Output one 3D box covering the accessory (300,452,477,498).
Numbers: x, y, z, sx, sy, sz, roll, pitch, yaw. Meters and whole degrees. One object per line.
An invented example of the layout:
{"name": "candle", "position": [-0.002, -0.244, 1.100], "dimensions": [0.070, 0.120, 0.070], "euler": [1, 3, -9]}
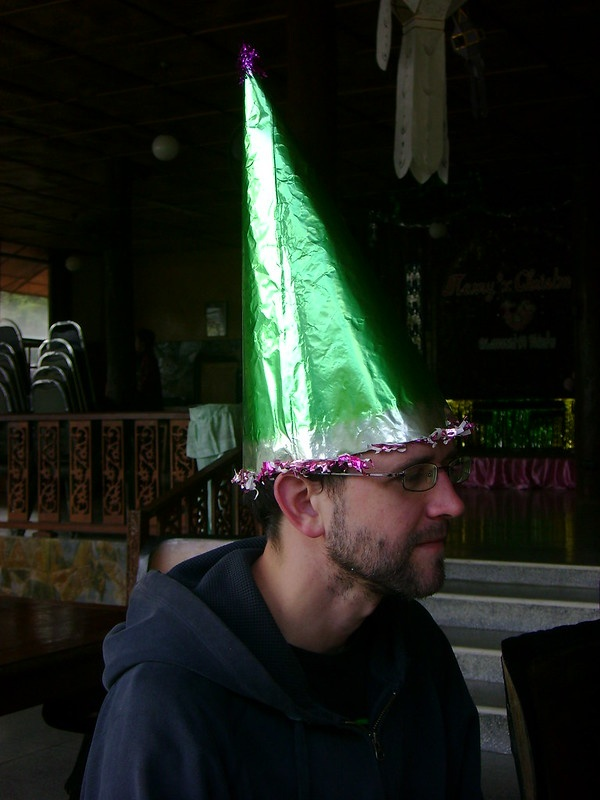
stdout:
{"name": "accessory", "position": [0.151, 0.100, 1.114], "dimensions": [0.278, 0.052, 0.139], "euler": [-5, 0, -41]}
